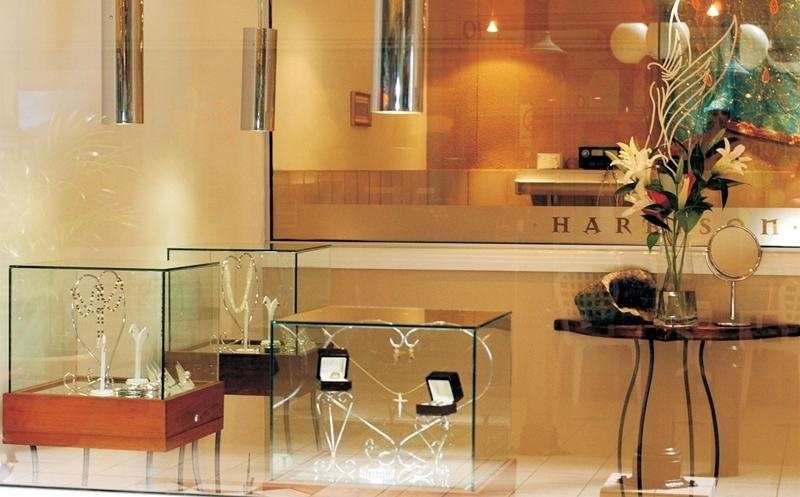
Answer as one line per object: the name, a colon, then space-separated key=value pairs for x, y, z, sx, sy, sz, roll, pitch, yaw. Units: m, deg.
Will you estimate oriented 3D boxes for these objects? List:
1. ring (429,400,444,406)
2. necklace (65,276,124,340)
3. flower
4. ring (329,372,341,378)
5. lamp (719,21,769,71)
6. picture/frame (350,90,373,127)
ring: x=0.179 y=0.685 z=3.918 sx=0.055 sy=0.022 sz=0.006 roll=0 pitch=4 yaw=14
necklace: x=-1.407 y=0.283 z=4.050 sx=0.277 sy=0.346 sz=0.056 roll=-2 pitch=-8 yaw=0
flower: x=1.284 y=-0.110 z=4.055 sx=0.652 sy=0.802 sz=0.640 roll=4 pitch=-5 yaw=-13
ring: x=-0.282 y=0.575 z=3.989 sx=0.047 sy=0.026 sz=0.004 roll=-1 pitch=4 yaw=4
lamp: x=1.595 y=-0.909 z=3.970 sx=0.203 sy=0.146 sz=0.206 roll=0 pitch=9 yaw=7
picture/frame: x=-0.172 y=-0.638 z=4.058 sx=0.173 sy=0.196 sz=0.021 roll=2 pitch=-17 yaw=-11
